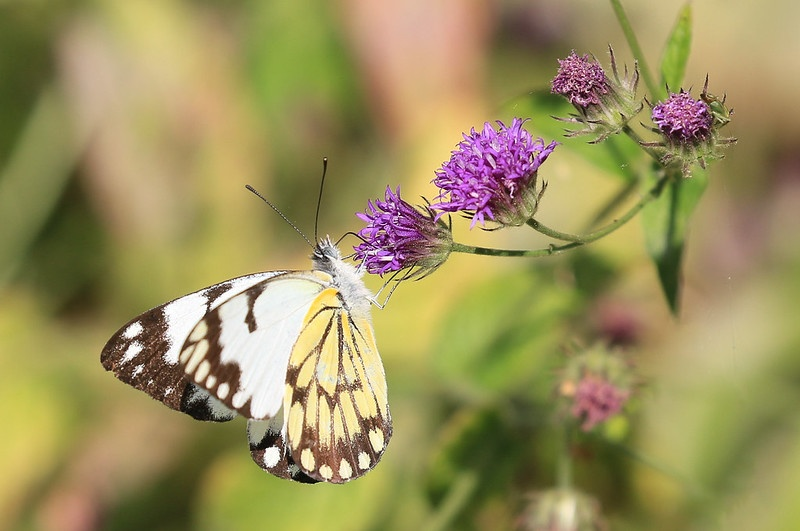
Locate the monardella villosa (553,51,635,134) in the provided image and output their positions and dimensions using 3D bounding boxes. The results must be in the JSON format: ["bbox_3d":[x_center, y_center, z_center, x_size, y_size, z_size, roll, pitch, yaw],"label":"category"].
[{"bbox_3d":[0.951,-0.839,3.927,0.387,0.241,0.433,-43,3,8],"label":"monardella villosa"}]

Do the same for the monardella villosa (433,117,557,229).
[{"bbox_3d":[0.440,-0.426,3.808,0.593,0.473,0.310,-3,21,2],"label":"monardella villosa"}]
